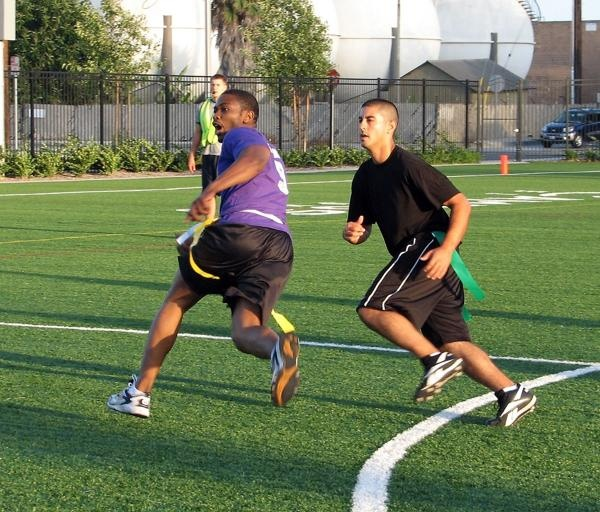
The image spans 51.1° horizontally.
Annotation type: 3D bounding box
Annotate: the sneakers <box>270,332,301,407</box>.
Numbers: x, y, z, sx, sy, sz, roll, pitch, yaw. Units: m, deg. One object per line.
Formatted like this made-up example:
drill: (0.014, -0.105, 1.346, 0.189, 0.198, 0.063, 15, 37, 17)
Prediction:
sneakers: (-0.063, 0.478, 2.655, 0.143, 0.265, 0.150, -7, 17, -35)

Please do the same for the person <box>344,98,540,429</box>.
person: (0.659, 0.036, 3.164, 1.017, 1.678, 0.523, 2, 7, 20)

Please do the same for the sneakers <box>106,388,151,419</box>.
sneakers: (-0.886, 0.748, 3.262, 0.315, 0.116, 0.117, 10, 3, 37)
